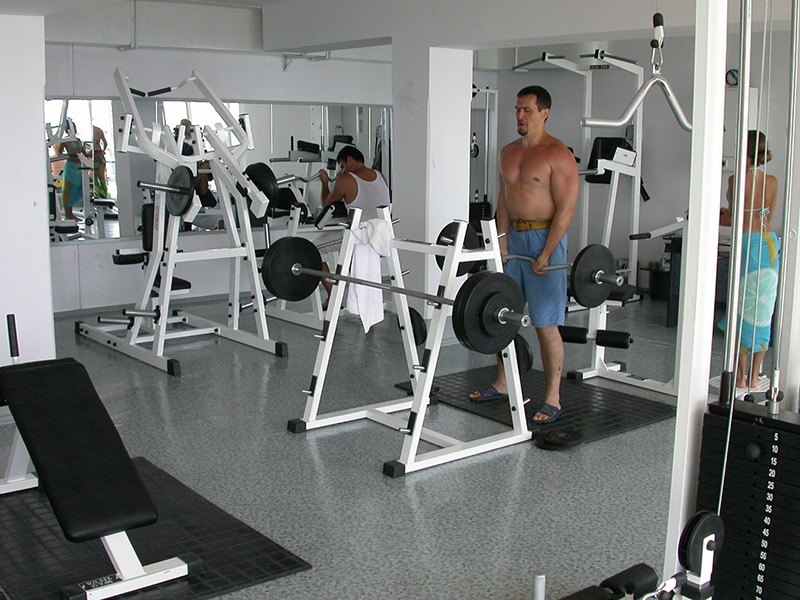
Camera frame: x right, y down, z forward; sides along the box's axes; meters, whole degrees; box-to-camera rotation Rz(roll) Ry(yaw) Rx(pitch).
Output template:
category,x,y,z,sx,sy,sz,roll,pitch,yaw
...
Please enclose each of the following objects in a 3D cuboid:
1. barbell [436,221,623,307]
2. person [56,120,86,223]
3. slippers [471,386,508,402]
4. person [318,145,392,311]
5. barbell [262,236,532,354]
category,x,y,z,sx,sy,sz,roll,pitch,yaw
barbell,0.876,-0.219,3.876,0.692,0.510,1.148,-9,15,-32
person,-3.215,-1.280,6.181,0.234,0.942,0.137,-5,12,-23
slippers,0.574,0.586,4.056,0.186,0.079,0.101,1,2,1
person,-0.398,-0.889,6.076,0.580,1.975,0.654,-11,19,-44
barbell,-0.046,-0.076,3.502,1.700,0.462,0.527,10,15,38
